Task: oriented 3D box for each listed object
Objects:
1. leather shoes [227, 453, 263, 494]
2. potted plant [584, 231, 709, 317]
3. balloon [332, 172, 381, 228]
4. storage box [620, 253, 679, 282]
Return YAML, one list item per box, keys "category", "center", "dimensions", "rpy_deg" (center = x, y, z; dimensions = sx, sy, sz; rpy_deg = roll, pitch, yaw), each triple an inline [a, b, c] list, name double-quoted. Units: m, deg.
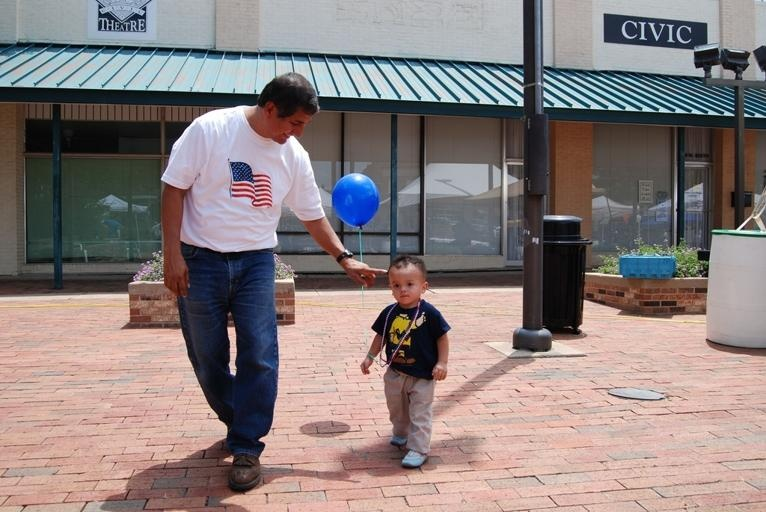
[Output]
- category: "leather shoes"
  center: [-1.158, 1.808, 6.124]
  dimensions: [0.311, 0.246, 0.278]
  rpy_deg: [-4, 12, -20]
- category: "potted plant"
  center: [4.595, 0.335, 12.745]
  dimensions: [1.599, 1.324, 0.825]
  rpy_deg: [-6, -3, -1]
- category: "balloon"
  center: [-0.519, -0.920, 12.769]
  dimensions: [0.931, 1.062, 0.913]
  rpy_deg: [2, -18, -10]
- category: "storage box"
  center: [4.436, 0.205, 12.120]
  dimensions: [0.865, 0.423, 0.341]
  rpy_deg: [3, 12, 17]
